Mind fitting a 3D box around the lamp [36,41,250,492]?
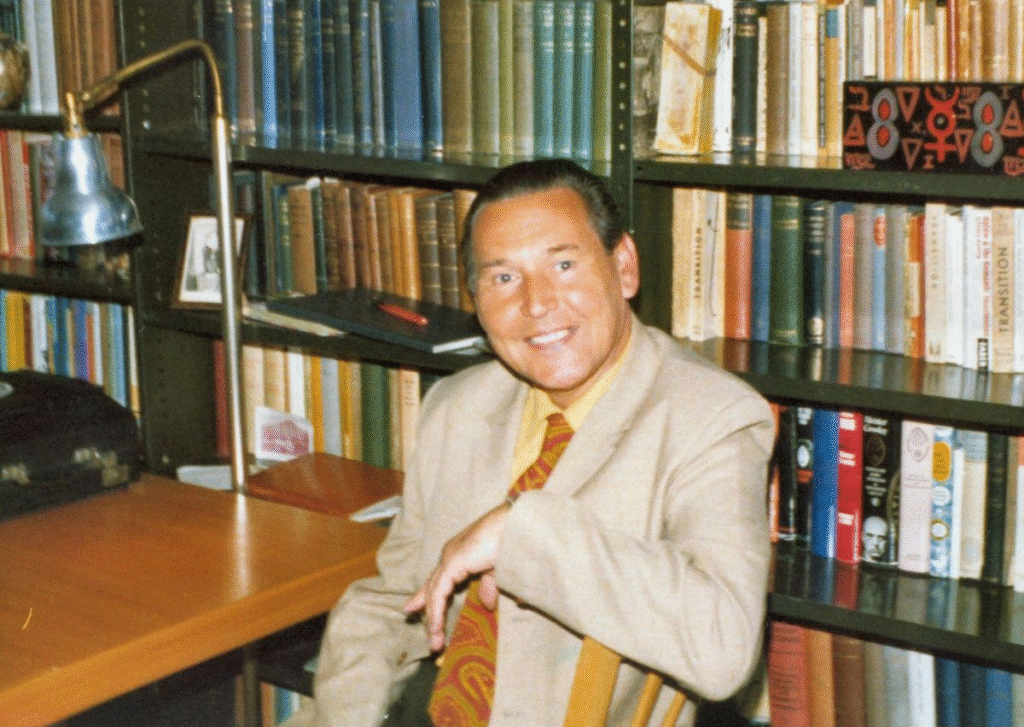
[{"bbox_3d":[-0.863,-0.270,2.423,0.440,1.021,0.635,1,8,-21],"label":"lamp"}]
